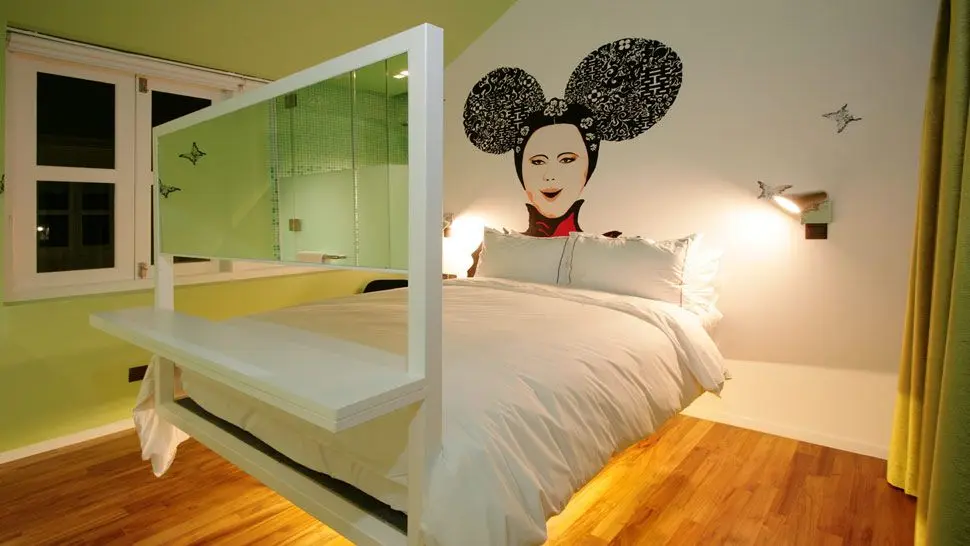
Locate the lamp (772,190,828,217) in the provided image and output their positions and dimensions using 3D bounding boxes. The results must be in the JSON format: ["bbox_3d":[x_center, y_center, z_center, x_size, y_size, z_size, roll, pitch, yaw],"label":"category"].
[{"bbox_3d":[2.348,-0.526,4.048,0.274,0.099,0.204,-17,-16,42],"label":"lamp"}]

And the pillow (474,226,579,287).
[{"bbox_3d":[0.387,-0.135,4.670,0.579,0.353,0.139,2,-27,40],"label":"pillow"}]

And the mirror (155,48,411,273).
[{"bbox_3d":[-1.115,-0.574,2.955,1.732,1.080,0.145,7,10,26],"label":"mirror"}]
